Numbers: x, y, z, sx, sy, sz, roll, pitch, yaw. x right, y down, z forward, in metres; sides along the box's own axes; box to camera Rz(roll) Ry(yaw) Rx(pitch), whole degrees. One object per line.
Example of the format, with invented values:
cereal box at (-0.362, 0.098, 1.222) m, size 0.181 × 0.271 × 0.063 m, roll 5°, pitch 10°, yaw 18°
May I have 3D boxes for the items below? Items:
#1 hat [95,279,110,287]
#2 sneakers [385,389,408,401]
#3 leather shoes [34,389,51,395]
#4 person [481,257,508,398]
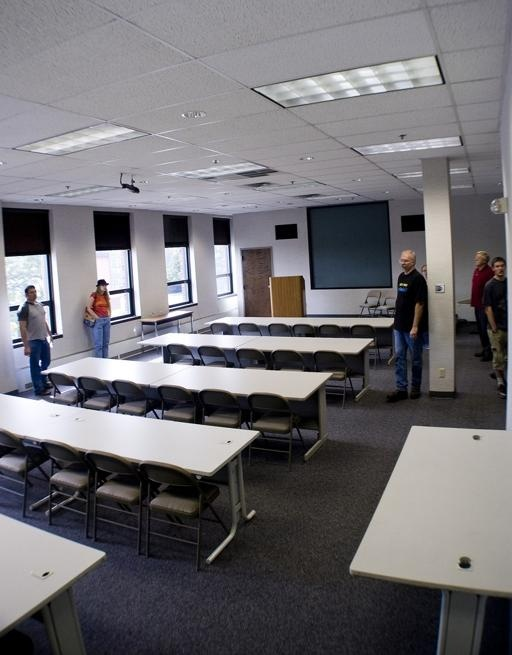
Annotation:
hat at (-2.822, -0.818, 9.382) m, size 0.187 × 0.092 × 0.245 m, roll -2°, pitch 4°, yaw 22°
sneakers at (1.743, 0.839, 6.309) m, size 0.325 × 0.129 × 0.115 m, roll 0°, pitch 0°, yaw -11°
leather shoes at (-3.274, 0.982, 7.764) m, size 0.280 × 0.097 × 0.104 m, roll 1°, pitch 2°, yaw 38°
person at (2.856, 0.016, 6.070) m, size 0.246 × 1.619 × 0.573 m, roll -1°, pitch 9°, yaw 25°
